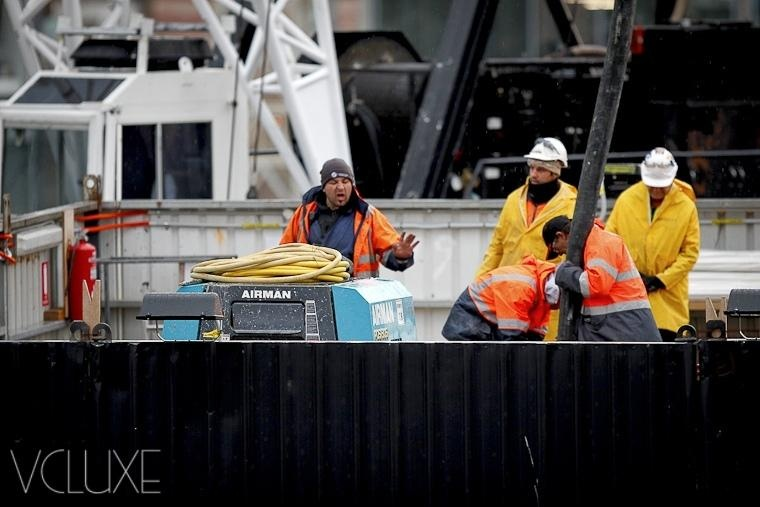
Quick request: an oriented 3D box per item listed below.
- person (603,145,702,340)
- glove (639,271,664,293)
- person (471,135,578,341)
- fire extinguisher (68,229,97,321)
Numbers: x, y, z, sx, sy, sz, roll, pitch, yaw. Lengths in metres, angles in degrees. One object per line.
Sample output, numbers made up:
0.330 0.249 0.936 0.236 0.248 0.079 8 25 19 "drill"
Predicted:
3.536 -0.186 26.182 0.996 2.501 0.901 2 -1 0 "person"
3.474 0.379 25.941 0.202 0.106 0.290 -2 -45 35 "glove"
1.965 -0.075 26.615 1.044 2.869 1.128 3 3 25 "person"
-4.002 0.301 27.413 0.298 1.147 0.262 -8 15 -34 "fire extinguisher"
